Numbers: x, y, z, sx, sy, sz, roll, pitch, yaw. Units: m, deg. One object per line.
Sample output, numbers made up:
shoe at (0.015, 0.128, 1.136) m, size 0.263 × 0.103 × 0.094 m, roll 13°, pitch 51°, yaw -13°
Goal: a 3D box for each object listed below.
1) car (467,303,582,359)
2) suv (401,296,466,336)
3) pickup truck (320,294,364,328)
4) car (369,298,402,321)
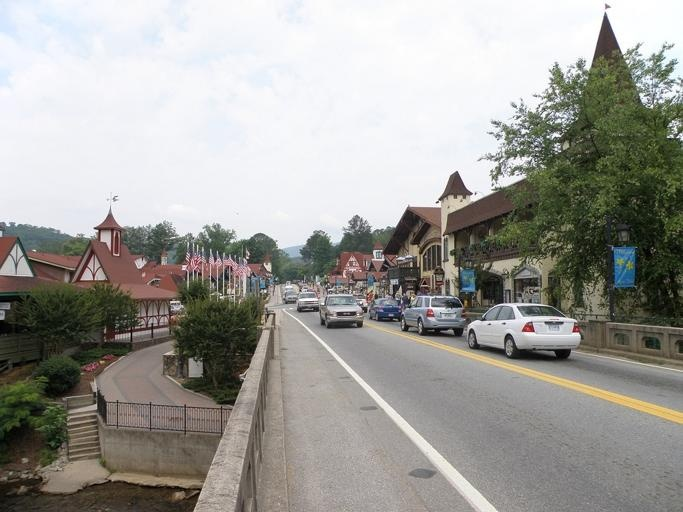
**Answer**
car at (6.048, 2.488, 19.501) m, size 1.544 × 1.743 × 3.594 m, roll -2°, pitch 2°, yaw -33°
suv at (4.294, 2.871, 28.271) m, size 1.403 × 1.403 × 3.309 m, roll 1°, pitch -2°, yaw -7°
pickup truck at (-0.047, 3.272, 33.444) m, size 2.317 × 1.919 × 3.463 m, roll 0°, pitch 1°, yaw 0°
car at (3.158, 3.796, 40.572) m, size 1.867 × 1.588 × 2.524 m, roll -1°, pitch 2°, yaw -10°
